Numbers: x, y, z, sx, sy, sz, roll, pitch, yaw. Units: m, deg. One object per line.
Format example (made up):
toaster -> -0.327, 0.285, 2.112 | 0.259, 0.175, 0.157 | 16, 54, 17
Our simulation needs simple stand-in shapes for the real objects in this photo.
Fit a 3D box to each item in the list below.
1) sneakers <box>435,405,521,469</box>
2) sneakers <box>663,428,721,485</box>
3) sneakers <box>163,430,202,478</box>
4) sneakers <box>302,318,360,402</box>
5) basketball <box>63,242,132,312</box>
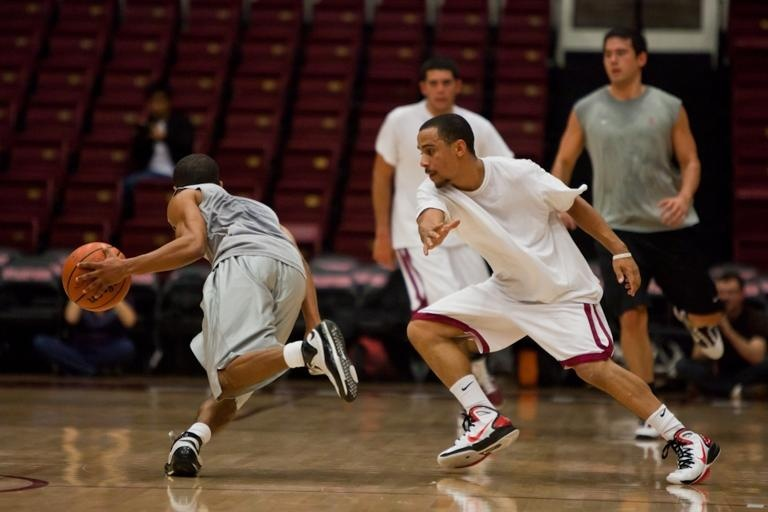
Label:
sneakers -> 0.497, 0.979, 4.775 | 0.337, 0.119, 0.222 | -28, 47, 13
sneakers -> 1.501, 1.009, 4.415 | 0.194, 0.146, 0.412 | 37, 23, 4
sneakers -> -1.010, 0.983, 4.426 | 0.203, 0.204, 0.159 | -3, 14, 15
sneakers -> -0.266, 0.522, 4.369 | 0.237, 0.419, 0.206 | -7, 14, -1
basketball -> -1.475, 0.098, 4.588 | 0.328, 0.326, 0.329 | 12, 4, 13
